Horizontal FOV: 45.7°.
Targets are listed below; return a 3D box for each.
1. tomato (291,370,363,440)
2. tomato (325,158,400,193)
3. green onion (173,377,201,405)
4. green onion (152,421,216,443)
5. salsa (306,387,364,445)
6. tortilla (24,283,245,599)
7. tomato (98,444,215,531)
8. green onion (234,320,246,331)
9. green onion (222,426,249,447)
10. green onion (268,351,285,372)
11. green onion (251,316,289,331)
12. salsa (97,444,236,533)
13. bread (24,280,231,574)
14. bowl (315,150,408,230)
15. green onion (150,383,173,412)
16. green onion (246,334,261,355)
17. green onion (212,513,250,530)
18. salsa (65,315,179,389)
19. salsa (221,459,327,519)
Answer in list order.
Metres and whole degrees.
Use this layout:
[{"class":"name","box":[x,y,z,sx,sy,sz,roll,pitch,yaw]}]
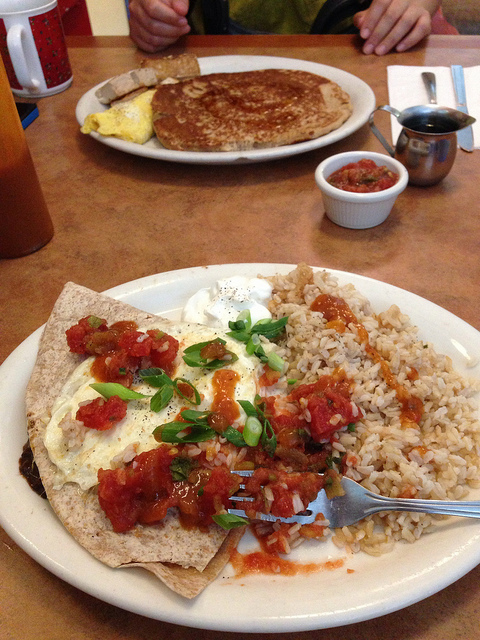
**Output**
[{"class":"tomato","box":[0.249,0.241,1.585,0.262,0.116,0.201,-3,18,-17]},{"class":"tomato","box":[0.517,-0.610,2.396,0.225,0.073,0.255,-24,44,-26]},{"class":"green onion","box":[-0.147,0.200,1.572,0.087,0.019,0.051,43,49,16]},{"class":"green onion","box":[-0.147,0.288,1.455,0.133,0.030,0.063,3,32,-4]},{"class":"salsa","box":[0.244,0.252,1.536,0.155,0.046,0.115,-39,77,-22]},{"class":"tortilla","box":[-0.275,0.333,1.492,0.751,0.338,0.643,-20,34,-41]},{"class":"tomato","box":[-0.208,0.424,1.408,0.272,0.077,0.181,2,75,-17]},{"class":"green onion","box":[0.000,0.016,1.756,0.032,0.014,0.027,4,80,-22]},{"class":"green onion","box":[-0.014,0.302,1.481,0.068,0.018,0.041,44,45,15]},{"class":"green onion","box":[0.108,0.123,1.734,0.051,0.018,0.050,36,43,1]},{"class":"green onion","box":[0.094,0.011,1.835,0.079,0.012,0.018,-22,52,-17]},{"class":"salsa","box":[-0.183,0.411,1.455,0.354,0.099,0.224,1,38,-12]},{"class":"bread","box":[-0.392,0.310,1.438,0.721,0.123,0.510,27,52,15]},{"class":"bowl","box":[0.494,-0.560,2.441,0.383,0.201,0.351,0,42,0]},{"class":"green onion","box":[-0.211,0.208,1.533,0.042,0.027,0.075,37,62,14]},{"class":"green onion","box":[0.037,0.070,1.704,0.034,0.016,0.062,9,43,17]},{"class":"green onion","box":[-0.024,0.483,1.371,0.057,0.041,0.015,8,90,3]},{"class":"salsa","box":[-0.355,0.064,1.697,0.328,0.117,0.261,15,41,9]},{"class":"salsa","box":[0.091,0.432,1.418,0.215,0.042,0.109,6,84,-10]}]
